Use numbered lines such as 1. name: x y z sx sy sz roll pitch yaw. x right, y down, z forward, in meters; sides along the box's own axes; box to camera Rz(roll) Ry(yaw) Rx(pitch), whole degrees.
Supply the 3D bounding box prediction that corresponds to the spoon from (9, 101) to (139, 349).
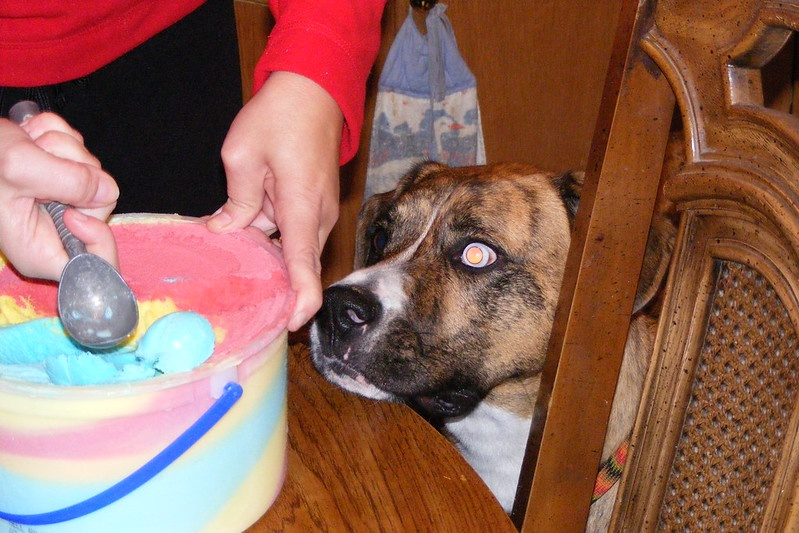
1. spoon: -0.697 -0.080 1.590 0.131 0.096 0.615 -32 70 15
